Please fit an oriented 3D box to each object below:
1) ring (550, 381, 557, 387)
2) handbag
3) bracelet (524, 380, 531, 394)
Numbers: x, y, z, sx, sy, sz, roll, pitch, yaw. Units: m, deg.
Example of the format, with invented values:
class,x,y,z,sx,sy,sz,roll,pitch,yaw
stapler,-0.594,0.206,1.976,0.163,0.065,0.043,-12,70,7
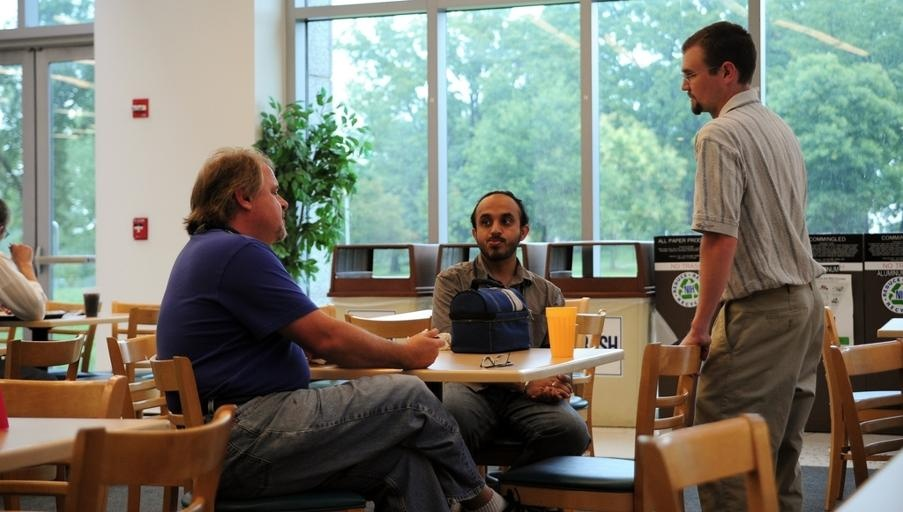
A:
class,x,y,z,sx,sy,sz,roll,pitch,yaw
ring,0.595,0.725,4.714,0.030,0.026,0.009,12,-18,7
handbag,0.227,0.339,4.710,0.339,0.386,0.503,-2,-1,27
bracelet,0.439,0.745,4.710,0.030,0.045,0.087,0,0,6
